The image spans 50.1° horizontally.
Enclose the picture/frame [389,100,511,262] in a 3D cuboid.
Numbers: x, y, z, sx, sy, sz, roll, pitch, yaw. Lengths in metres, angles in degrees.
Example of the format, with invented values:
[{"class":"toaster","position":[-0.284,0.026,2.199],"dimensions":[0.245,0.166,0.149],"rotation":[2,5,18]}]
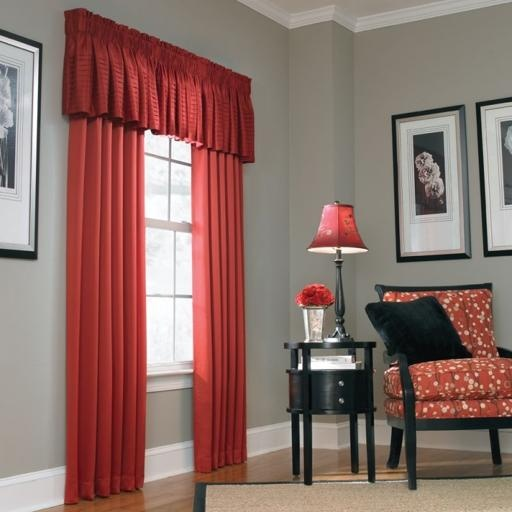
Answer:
[{"class":"picture/frame","position":[1.459,-0.523,4.006],"dimensions":[0.931,1.514,0.046],"rotation":[-4,-6,39]}]

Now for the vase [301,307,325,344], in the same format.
[{"class":"vase","position":[0.294,0.396,3.120],"dimensions":[0.142,0.254,0.157],"rotation":[1,-4,-15]}]

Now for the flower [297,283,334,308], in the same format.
[{"class":"flower","position":[0.344,0.227,3.081],"dimensions":[0.125,0.122,0.154],"rotation":[0,-2,17]}]
